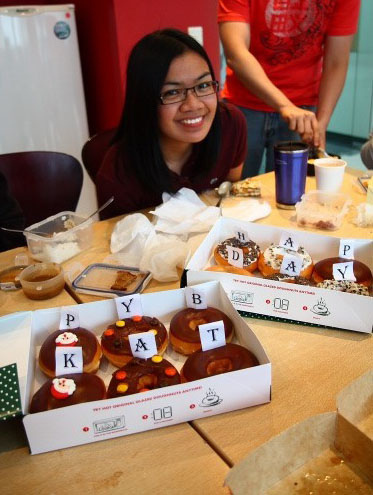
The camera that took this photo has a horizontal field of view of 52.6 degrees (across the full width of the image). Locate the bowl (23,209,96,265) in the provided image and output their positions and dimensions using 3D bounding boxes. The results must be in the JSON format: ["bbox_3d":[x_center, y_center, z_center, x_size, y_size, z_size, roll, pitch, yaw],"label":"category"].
[{"bbox_3d":[-0.389,-0.040,1.237,0.159,0.096,0.221,22,38,29],"label":"bowl"}]

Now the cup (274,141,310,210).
[{"bbox_3d":[0.384,-0.260,1.386,0.126,0.240,0.144,-13,26,-31],"label":"cup"}]

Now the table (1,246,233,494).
[{"bbox_3d":[-0.128,0.227,0.702,0.231,0.050,0.338,-13,40,-34],"label":"table"}]

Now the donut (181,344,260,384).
[{"bbox_3d":[0.061,0.220,0.710,0.145,0.043,0.082,-3,22,-11],"label":"donut"}]

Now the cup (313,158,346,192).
[{"bbox_3d":[0.508,-0.258,1.408,0.123,0.124,0.123,-8,26,4],"label":"cup"}]

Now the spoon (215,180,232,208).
[{"bbox_3d":[0.149,-0.214,1.495,0.034,0.021,0.161,24,46,1],"label":"spoon"}]

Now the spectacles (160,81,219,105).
[{"bbox_3d":[0.026,-0.563,1.371,0.081,0.084,0.278,18,27,36],"label":"spectacles"}]

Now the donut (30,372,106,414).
[{"bbox_3d":[-0.207,0.247,0.655,0.124,0.028,0.086,-7,23,-19],"label":"donut"}]

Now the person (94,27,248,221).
[{"bbox_3d":[-0.059,-0.512,1.599,0.749,0.751,0.415,-21,47,-22],"label":"person"}]

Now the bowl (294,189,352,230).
[{"bbox_3d":[0.503,-0.132,1.344,0.190,0.066,0.213,10,25,42],"label":"bowl"}]

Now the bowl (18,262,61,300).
[{"bbox_3d":[-0.386,0.091,1.014,0.101,0.057,0.097,0,28,0],"label":"bowl"}]

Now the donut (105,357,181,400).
[{"bbox_3d":[-0.075,0.232,0.679,0.127,0.041,0.105,2,21,2],"label":"donut"}]
